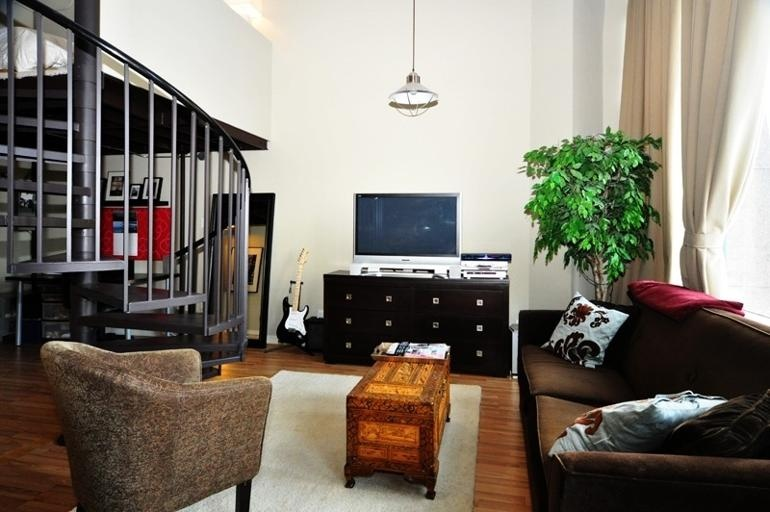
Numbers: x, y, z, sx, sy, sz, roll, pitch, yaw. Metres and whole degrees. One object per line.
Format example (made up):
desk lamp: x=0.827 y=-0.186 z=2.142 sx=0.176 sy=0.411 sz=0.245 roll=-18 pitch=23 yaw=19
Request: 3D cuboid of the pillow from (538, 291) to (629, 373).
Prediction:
pillow: x=1.594 y=0.605 z=4.158 sx=0.155 sy=0.506 sz=0.502 roll=28 pitch=6 yaw=-34

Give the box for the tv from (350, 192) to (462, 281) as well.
tv: x=0.268 y=-0.197 z=5.723 sx=0.935 sy=0.692 sz=0.192 roll=1 pitch=4 yaw=7

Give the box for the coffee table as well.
coffee table: x=0.090 y=1.177 z=3.788 sx=0.634 sy=0.639 sz=0.786 roll=3 pitch=11 yaw=10

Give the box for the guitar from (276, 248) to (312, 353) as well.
guitar: x=-1.075 y=0.476 z=6.156 sx=0.363 sy=1.088 sz=0.539 roll=-1 pitch=11 yaw=-8
